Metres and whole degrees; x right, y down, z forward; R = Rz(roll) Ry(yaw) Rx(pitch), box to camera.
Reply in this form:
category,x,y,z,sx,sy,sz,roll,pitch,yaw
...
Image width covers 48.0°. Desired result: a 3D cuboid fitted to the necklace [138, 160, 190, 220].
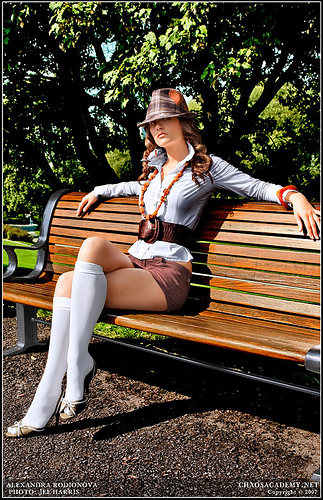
category,x,y,z,sx,sy,sz,roll,pitch,yaw
necklace,0.007,-0.336,1.960,0.039,0.339,0.269,38,-14,-35

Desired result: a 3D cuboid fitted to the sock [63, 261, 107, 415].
category,x,y,z,sx,sy,sz,roll,pitch,yaw
sock,-0.312,0.314,1.461,0.119,0.588,0.187,3,0,11

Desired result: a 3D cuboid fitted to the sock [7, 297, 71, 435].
category,x,y,z,sx,sy,sz,roll,pitch,yaw
sock,-0.428,0.437,1.441,0.160,0.522,0.169,3,0,10

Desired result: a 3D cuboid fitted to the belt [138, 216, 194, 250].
category,x,y,z,sx,sy,sz,roll,pitch,yaw
belt,0.018,-0.084,2.031,0.292,0.133,0.307,11,-2,35

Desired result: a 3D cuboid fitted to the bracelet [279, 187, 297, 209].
category,x,y,z,sx,sy,sz,roll,pitch,yaw
bracelet,0.590,-0.239,1.725,0.088,0.076,0.034,5,-22,8
